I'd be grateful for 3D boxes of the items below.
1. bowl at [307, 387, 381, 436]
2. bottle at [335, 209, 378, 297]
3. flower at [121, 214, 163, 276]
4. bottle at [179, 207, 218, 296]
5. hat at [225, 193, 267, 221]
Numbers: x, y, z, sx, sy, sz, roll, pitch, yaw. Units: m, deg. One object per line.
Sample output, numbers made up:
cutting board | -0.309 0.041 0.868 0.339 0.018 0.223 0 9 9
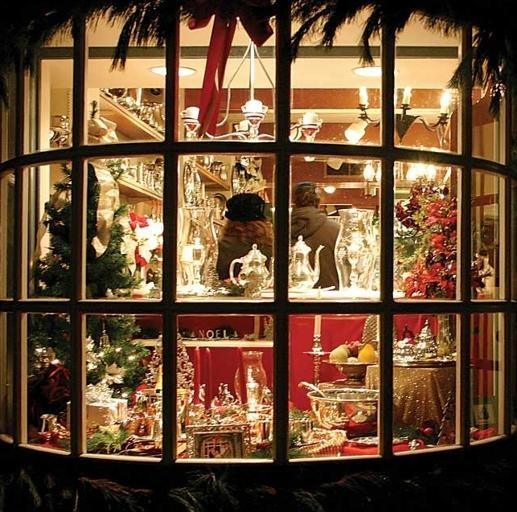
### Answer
bowl | 0.308 0.550 2.965 0.277 0.091 0.171 -4 -6 33
bottle | 0.333 -0.020 2.825 0.149 0.278 0.136 -1 -6 0
flower | -0.468 -0.045 3.209 0.218 0.229 0.129 3 3 -33
bottle | -0.206 -0.020 2.820 0.132 0.311 0.223 -1 -6 -4
hat | -0.048 -0.178 3.127 0.151 0.102 0.138 -1 -5 -3
